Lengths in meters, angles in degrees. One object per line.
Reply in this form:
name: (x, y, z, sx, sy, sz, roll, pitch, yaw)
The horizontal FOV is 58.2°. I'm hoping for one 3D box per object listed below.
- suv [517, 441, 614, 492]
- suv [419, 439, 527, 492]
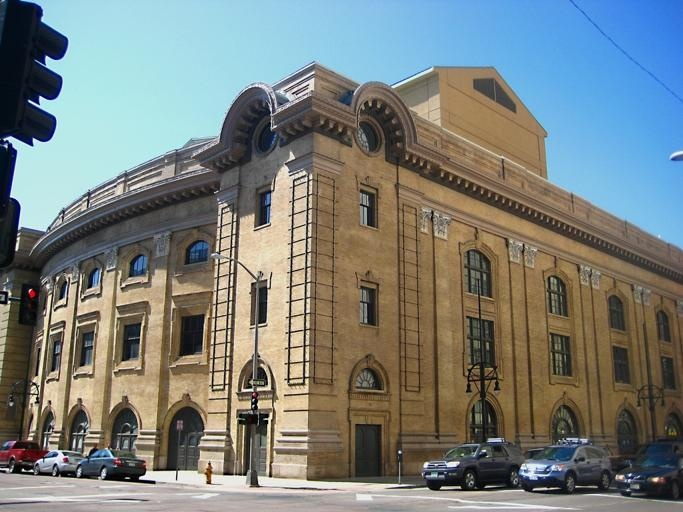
suv: (9.400, 8.905, 25.849, 3.977, 2.070, 1.635, 13, -26, -26)
suv: (5.840, 9.150, 27.089, 4.669, 2.357, 1.333, 15, -27, -30)
